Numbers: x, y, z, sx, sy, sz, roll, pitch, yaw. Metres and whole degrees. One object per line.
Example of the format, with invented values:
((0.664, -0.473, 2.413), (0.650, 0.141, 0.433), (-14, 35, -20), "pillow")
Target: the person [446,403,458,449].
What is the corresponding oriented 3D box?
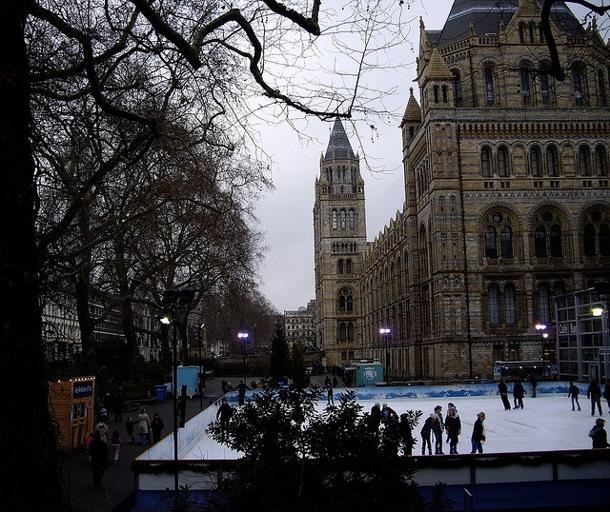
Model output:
((4.638, 5.421, 23.213), (0.414, 1.522, 0.829), (-3, -7, 10), "person")
